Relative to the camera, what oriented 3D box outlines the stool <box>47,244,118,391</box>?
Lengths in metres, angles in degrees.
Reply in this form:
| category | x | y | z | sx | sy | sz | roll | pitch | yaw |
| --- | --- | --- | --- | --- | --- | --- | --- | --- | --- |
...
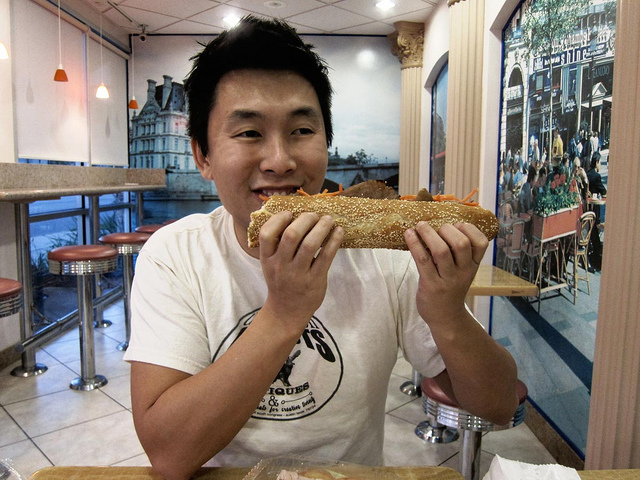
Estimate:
| category | x | y | z | sx | sy | sz | roll | pitch | yaw |
| --- | --- | --- | --- | --- | --- | --- | --- | --- | --- |
| stool | -1.984 | 0.653 | 4.301 | 0.553 | 1.158 | 0.492 | -5 | 13 | -28 |

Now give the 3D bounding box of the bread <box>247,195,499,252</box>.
| category | x | y | z | sx | sy | sz | roll | pitch | yaw |
| --- | --- | --- | --- | --- | --- | --- | --- | --- | --- |
| bread | 0.192 | -0.070 | 1.751 | 0.950 | 0.257 | 0.287 | 2 | 0 | -4 |

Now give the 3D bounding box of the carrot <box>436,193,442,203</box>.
| category | x | y | z | sx | sy | sz | roll | pitch | yaw |
| --- | --- | --- | --- | --- | --- | --- | --- | --- | --- |
| carrot | 0.405 | -0.143 | 1.708 | 0.008 | 0.024 | 0.017 | -2 | -7 | 33 |

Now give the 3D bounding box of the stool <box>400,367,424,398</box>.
| category | x | y | z | sx | sy | sz | roll | pitch | yaw |
| --- | --- | --- | --- | --- | --- | --- | --- | --- | --- |
| stool | 0.764 | 1.204 | 4.235 | 0.164 | 0.189 | 0.377 | 1 | 11 | 1 |

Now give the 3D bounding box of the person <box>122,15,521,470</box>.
| category | x | y | z | sx | sy | sz | roll | pitch | yaw |
| --- | --- | --- | --- | --- | --- | --- | --- | --- | --- |
| person | -0.058 | 0.047 | 1.775 | 1.235 | 1.687 | 0.683 | -1 | 12 | -11 |
